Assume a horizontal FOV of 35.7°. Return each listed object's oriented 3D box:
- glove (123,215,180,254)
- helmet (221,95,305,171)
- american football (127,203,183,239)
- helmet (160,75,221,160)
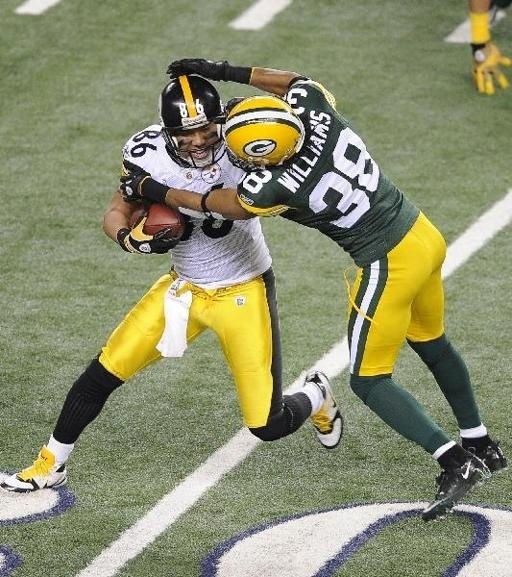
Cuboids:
[{"bbox_3d":[-0.368,-0.187,2.810,0.228,0.093,0.118,-3,48,5],"label":"glove"},{"bbox_3d":[0.032,-0.510,2.621,0.264,0.216,0.213,6,53,-2],"label":"helmet"},{"bbox_3d":[-0.336,-0.250,2.817,0.194,0.081,0.125,2,5,35],"label":"american football"},{"bbox_3d":[-0.239,-0.612,2.830,0.272,0.233,0.266,-14,45,1],"label":"helmet"}]
